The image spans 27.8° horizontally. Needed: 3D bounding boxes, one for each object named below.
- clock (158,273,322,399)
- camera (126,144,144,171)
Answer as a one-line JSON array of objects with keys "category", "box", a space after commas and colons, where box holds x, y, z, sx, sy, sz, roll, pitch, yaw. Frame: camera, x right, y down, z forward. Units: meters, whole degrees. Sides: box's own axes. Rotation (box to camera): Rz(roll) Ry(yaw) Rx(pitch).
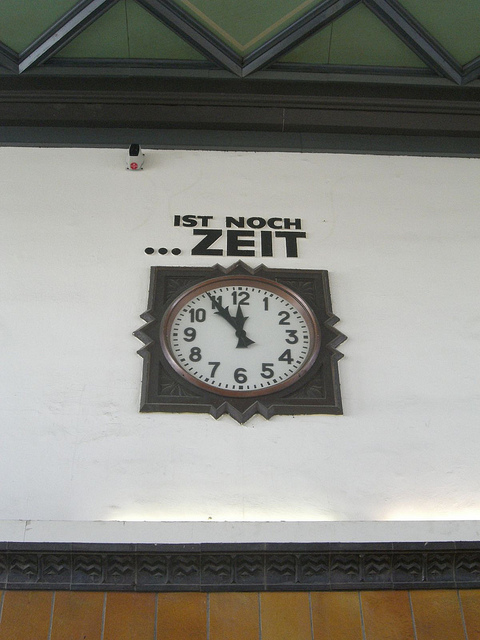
[{"category": "clock", "box": [-0.008, 0.091, 4.129, 0.764, 0.630, 0.055, 0, -45, -5]}, {"category": "camera", "box": [-0.512, -0.785, 4.684, 0.076, 0.045, 0.124, -2, -74, -12]}]
